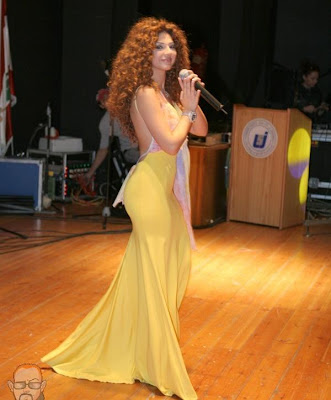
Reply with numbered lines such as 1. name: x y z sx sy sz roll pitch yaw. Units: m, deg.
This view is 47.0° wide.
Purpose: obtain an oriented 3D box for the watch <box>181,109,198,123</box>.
1. watch: 0.085 -0.290 1.304 0.045 0.046 0.030 15 44 22

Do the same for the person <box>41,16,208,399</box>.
1. person: -0.071 0.020 1.570 0.611 1.509 0.439 7 9 36
